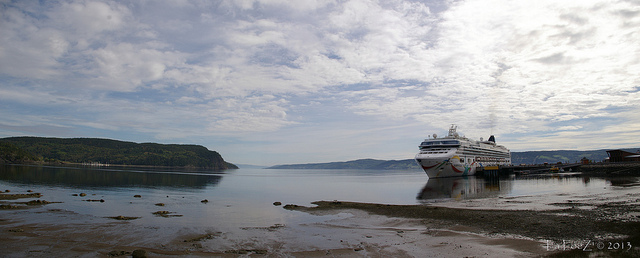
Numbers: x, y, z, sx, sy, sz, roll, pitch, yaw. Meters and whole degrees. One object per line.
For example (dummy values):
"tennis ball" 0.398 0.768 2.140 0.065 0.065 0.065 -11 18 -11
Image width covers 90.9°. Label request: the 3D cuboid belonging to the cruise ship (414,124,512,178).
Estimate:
"cruise ship" 58.143 12.040 128.993 76.889 18.808 21.865 8 -13 -36
